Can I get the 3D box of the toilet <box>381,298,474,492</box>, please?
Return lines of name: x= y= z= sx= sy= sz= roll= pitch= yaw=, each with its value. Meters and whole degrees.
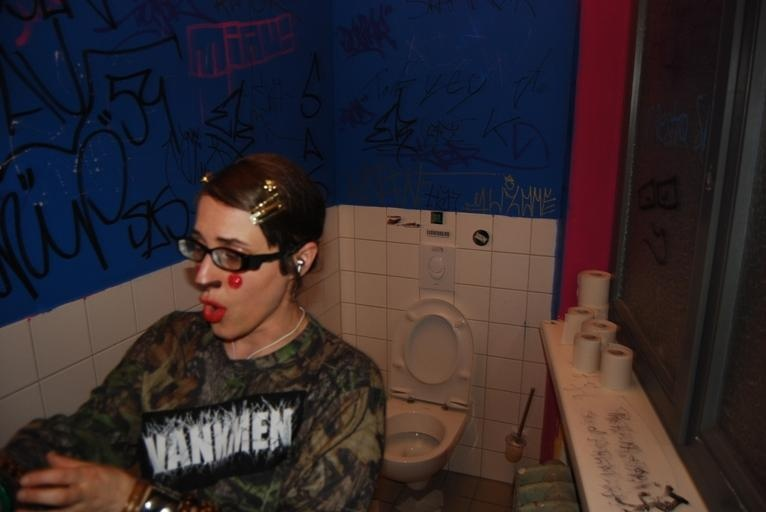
toilet: x=0.253 y=0.696 z=2.968 sx=0.458 sy=0.869 sz=0.503 roll=2 pitch=9 yaw=4

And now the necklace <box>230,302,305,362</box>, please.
necklace: x=-0.330 y=0.251 z=1.636 sx=0.183 sy=0.047 sz=0.152 roll=-36 pitch=18 yaw=-25

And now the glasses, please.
glasses: x=-0.440 y=-0.004 z=1.565 sx=0.313 sy=0.093 sz=0.065 roll=2 pitch=9 yaw=5

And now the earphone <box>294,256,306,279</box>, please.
earphone: x=-0.243 y=0.032 z=1.627 sx=0.034 sy=0.052 sz=0.018 roll=6 pitch=2 yaw=42
